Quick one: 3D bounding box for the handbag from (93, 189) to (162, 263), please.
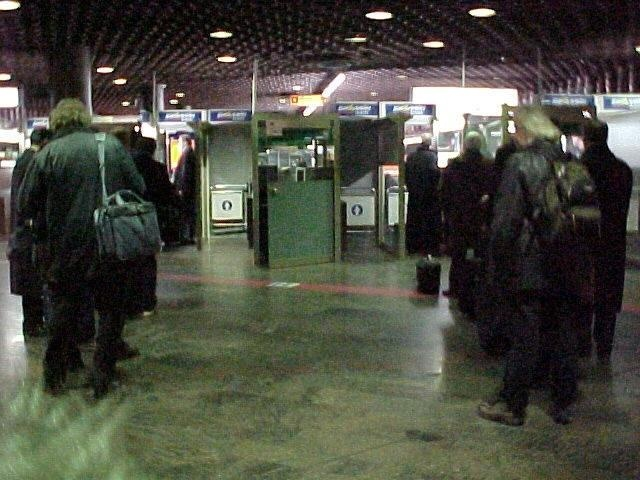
[{"bbox_3d":[-1.243,-0.085,3.514,0.236,0.479,0.458,-9,-4,42],"label":"handbag"}]

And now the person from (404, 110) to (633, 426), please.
[{"bbox_3d":[1.278,0.229,3.253,0.786,1.959,0.469,-7,10,-38],"label":"person"}]

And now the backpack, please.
[{"bbox_3d":[1.344,-0.209,3.064,0.578,0.510,0.119,-6,9,-32],"label":"backpack"}]

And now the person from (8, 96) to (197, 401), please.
[{"bbox_3d":[-1.528,0.085,3.666,0.916,2.012,0.438,1,8,11],"label":"person"}]

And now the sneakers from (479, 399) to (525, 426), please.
[{"bbox_3d":[1.120,1.034,3.449,0.231,0.112,0.131,6,6,27],"label":"sneakers"}]
